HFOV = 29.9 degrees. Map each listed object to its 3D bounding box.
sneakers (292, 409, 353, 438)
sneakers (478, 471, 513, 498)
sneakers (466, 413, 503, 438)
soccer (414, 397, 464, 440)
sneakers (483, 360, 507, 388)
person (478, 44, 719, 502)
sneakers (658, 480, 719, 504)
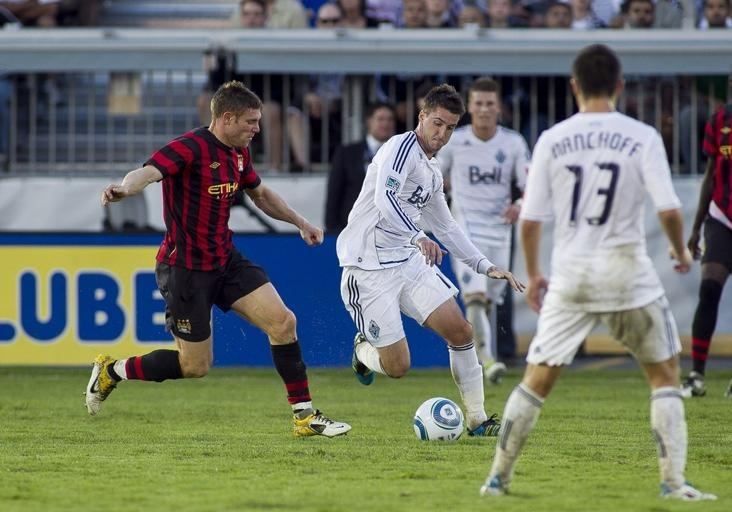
[{"bbox_3d":[-0.343,1.378,11.319,0.493,0.253,0.187,-1,1,3],"label":"sneakers"},{"bbox_3d":[0.954,1.669,9.945,0.225,0.159,0.119,5,-4,0],"label":"sneakers"},{"bbox_3d":[1.011,1.399,11.344,0.350,0.165,0.130,-14,-2,18],"label":"sneakers"},{"bbox_3d":[0.602,1.371,11.213,0.343,0.344,0.355,-9,-28,20],"label":"soccer"},{"bbox_3d":[1.277,1.133,13.336,0.115,0.161,0.322,3,-39,-9],"label":"sneakers"},{"bbox_3d":[1.713,0.112,9.942,1.429,3.197,0.683,1,10,6],"label":"person"},{"bbox_3d":[2.345,1.691,9.952,0.428,0.175,0.149,-2,2,-4],"label":"sneakers"}]
